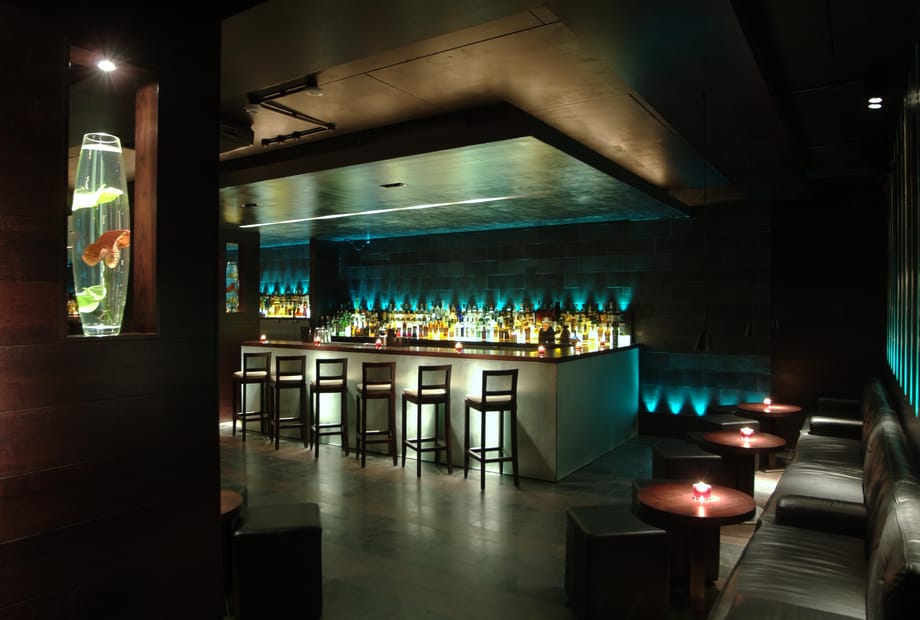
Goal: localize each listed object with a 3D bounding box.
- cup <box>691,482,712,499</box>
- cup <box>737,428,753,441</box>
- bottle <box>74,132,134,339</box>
[{"bbox_3d":[1.520,1.137,4.114,0.101,0.091,0.097,-1,-9,0],"label":"cup"},{"bbox_3d":[2.328,1.015,5.366,0.130,0.114,0.120,0,2,0],"label":"cup"},{"bbox_3d":[-1.604,-0.337,2.932,0.211,0.910,0.127,0,-1,-30],"label":"bottle"}]
